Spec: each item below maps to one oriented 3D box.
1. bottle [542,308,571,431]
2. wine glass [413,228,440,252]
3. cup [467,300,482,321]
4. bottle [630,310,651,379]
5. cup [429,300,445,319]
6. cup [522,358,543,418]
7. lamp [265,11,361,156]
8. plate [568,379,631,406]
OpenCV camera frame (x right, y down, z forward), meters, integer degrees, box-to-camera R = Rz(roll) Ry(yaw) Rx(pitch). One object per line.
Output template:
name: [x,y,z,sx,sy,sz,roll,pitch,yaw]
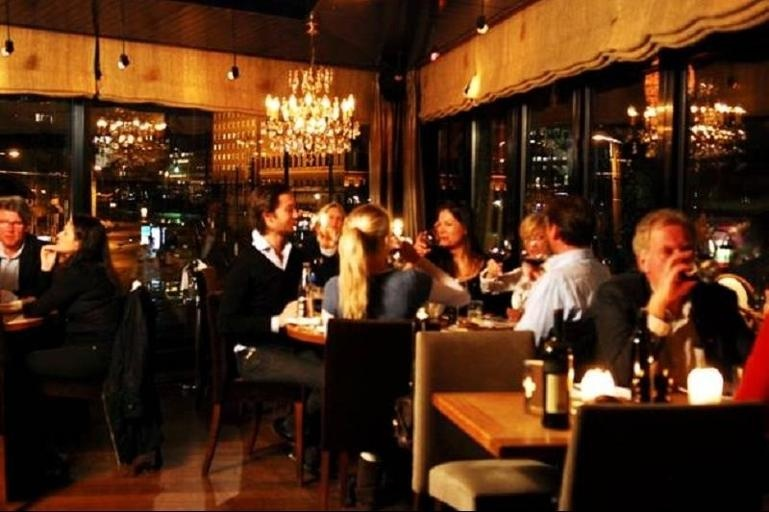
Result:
bottle: [0.767,0.485,3.024,0.121,0.478,0.243,2,7,15]
wine glass: [0.380,-0.135,5.985,0.218,0.193,0.322,-9,-6,-14]
cup: [0.658,0.407,5.006,0.118,0.156,0.116,0,1,0]
bottle: [1.213,0.405,3.218,0.090,0.299,0.265,3,8,20]
cup: [0.363,0.376,4.817,0.128,0.125,0.119,2,3,0]
cup: [0.679,0.592,3.095,0.058,0.230,0.103,-3,8,-25]
lamp: [-0.802,-1.700,7.221,0.970,1.343,1.300,-2,8,-20]
plate: [0.986,0.637,3.124,0.262,0.070,0.286,3,8,20]
